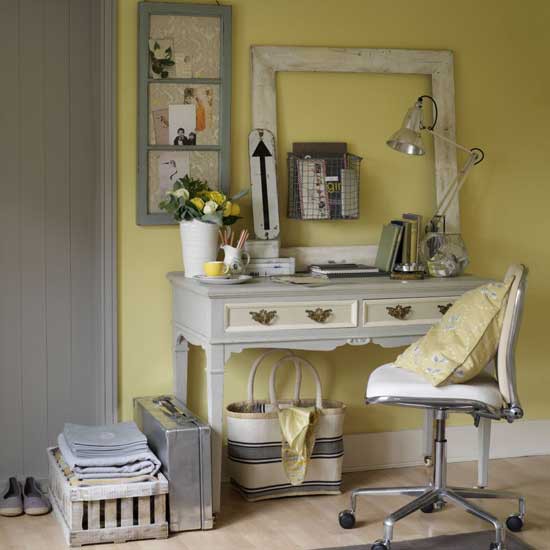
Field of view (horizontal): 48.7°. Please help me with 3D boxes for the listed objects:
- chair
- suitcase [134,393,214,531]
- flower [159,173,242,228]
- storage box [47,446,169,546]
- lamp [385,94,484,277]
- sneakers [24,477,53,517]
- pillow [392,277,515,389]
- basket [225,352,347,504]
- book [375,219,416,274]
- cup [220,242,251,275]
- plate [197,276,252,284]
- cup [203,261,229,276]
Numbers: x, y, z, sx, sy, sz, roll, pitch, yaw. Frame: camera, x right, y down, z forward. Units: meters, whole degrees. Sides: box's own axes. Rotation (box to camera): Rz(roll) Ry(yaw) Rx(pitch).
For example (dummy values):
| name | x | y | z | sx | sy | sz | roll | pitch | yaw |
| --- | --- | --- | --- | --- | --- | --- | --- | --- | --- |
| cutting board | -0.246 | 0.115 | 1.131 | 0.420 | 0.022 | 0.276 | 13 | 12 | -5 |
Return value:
| name | x | y | z | sx | sy | sz | roll | pitch | yaw |
| --- | --- | --- | --- | --- | --- | --- | --- | --- | --- |
| chair | 0.406 | 0.427 | 2.366 | 0.842 | 1.148 | 0.793 | 1 | -2 | -3 |
| suitcase | -0.346 | 0.660 | 2.091 | 0.150 | 0.363 | 0.443 | -3 | 5 | -19 |
| flower | -0.293 | -0.256 | 2.348 | 0.328 | 0.098 | 0.286 | 18 | 2 | 37 |
| storage box | -0.573 | 0.741 | 2.088 | 0.207 | 0.130 | 0.340 | -2 | 4 | -20 |
| lamp | 0.716 | -0.404 | 2.624 | 0.547 | 0.807 | 0.378 | 1 | 2 | -7 |
| sneakers | -0.893 | 0.828 | 2.295 | 0.069 | 0.068 | 0.181 | 1 | 1 | -24 |
| pillow | 0.556 | 0.165 | 1.891 | 0.334 | 0.339 | 0.202 | 2 | 2 | 10 |
| basket | 0.041 | 0.601 | 2.510 | 0.462 | 0.560 | 0.321 | -1 | -4 | -12 |
| book | 0.484 | -0.122 | 2.565 | 0.049 | 0.197 | 0.196 | 7 | 1 | -14 |
| cup | -0.148 | -0.051 | 2.290 | 0.124 | 0.118 | 0.086 | 2 | -7 | -8 |
| plate | -0.180 | 0.015 | 2.205 | 0.203 | 0.032 | 0.150 | 1 | 1 | -8 |
| cup | -0.209 | -0.024 | 2.174 | 0.065 | 0.041 | 0.051 | 1 | 0 | -6 |
